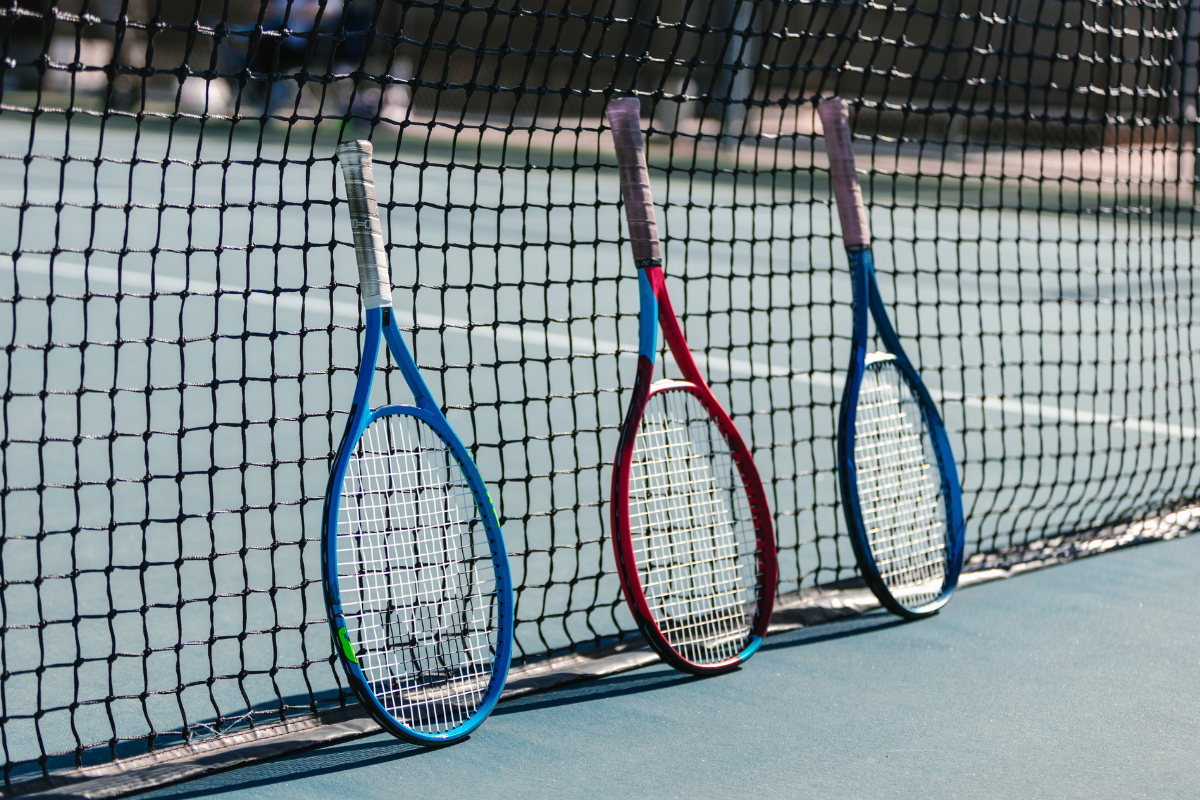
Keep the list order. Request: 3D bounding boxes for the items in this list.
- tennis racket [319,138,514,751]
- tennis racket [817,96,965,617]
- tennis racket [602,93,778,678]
[{"bbox_3d":[-0.525,0.077,3.323,0.458,1.460,0.717,-11,11,-8],"label":"tennis racket"},{"bbox_3d":[0.796,-0.126,3.623,0.307,1.437,0.502,-6,12,15],"label":"tennis racket"},{"bbox_3d":[0.194,-0.053,3.451,0.412,1.495,0.598,-8,11,5],"label":"tennis racket"}]
